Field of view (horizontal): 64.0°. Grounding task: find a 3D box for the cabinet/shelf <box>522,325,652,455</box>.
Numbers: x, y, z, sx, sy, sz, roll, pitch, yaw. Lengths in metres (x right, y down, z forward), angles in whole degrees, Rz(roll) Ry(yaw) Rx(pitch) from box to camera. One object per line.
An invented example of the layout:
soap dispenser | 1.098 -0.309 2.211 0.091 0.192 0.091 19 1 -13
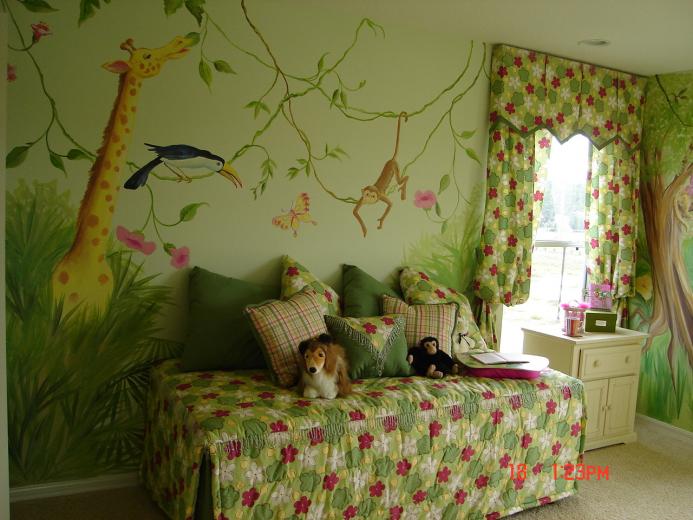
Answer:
cabinet/shelf | 1.903 0.968 4.430 0.721 0.902 0.607 -6 12 -25

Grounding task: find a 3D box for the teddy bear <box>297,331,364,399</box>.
teddy bear | -0.087 0.575 2.973 0.239 0.326 0.337 -1 -3 8

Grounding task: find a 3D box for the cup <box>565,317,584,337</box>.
cup | 1.693 0.502 4.160 0.123 0.150 0.129 0 -1 0
